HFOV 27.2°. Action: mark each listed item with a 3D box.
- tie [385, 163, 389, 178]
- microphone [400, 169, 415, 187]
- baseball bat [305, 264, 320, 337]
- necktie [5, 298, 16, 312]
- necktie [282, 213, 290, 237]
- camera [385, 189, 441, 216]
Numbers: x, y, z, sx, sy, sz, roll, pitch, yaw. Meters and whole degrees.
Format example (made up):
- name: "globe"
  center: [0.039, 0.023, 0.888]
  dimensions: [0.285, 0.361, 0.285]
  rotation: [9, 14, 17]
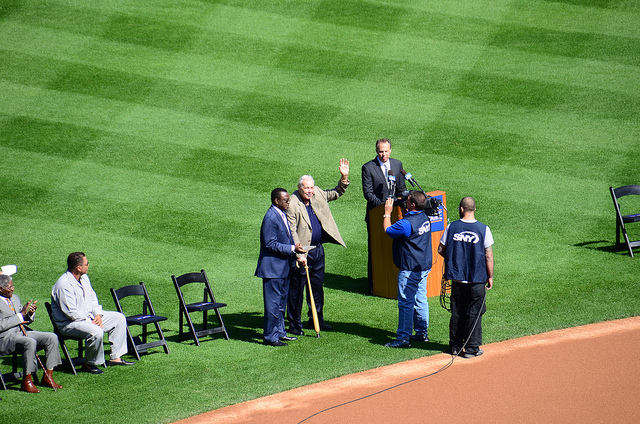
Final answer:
- name: "tie"
  center: [1.641, -1.008, 31.955]
  dimensions: [0.070, 0.338, 0.149]
  rotation: [-6, -4, 3]
- name: "microphone"
  center: [2.214, -0.794, 31.863]
  dimensions: [0.146, 0.647, 0.172]
  rotation: [-44, -19, 13]
- name: "baseball bat"
  center: [-0.141, 2.106, 30.946]
  dimensions: [0.146, 1.785, 0.142]
  rotation: [-14, -20, -6]
- name: "necktie"
  center: [-6.939, 2.119, 29.659]
  dimensions: [0.087, 0.098, 0.372]
  rotation: [-4, -44, 24]
- name: "necktie"
  center: [-0.769, 0.290, 30.529]
  dimensions: [0.079, 0.630, 0.069]
  rotation: [-18, -5, -25]
- name: "camera"
  center: [2.240, -0.187, 30.593]
  dimensions: [0.884, 0.378, 0.695]
  rotation: [23, 20, 30]
